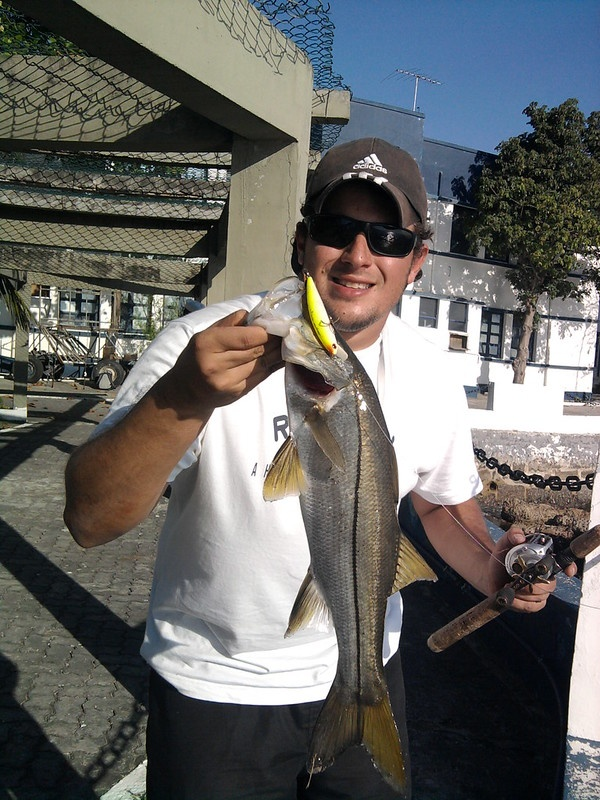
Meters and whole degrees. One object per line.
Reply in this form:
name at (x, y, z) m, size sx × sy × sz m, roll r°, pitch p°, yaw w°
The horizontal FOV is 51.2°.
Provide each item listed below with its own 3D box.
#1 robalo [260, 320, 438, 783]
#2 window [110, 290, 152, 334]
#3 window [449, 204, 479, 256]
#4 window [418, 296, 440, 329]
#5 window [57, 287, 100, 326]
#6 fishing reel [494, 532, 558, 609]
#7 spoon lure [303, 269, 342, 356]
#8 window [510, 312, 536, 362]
robalo at (0.104, 0.293, 1.406) m, size 0.376 × 1.033 × 0.307 m, roll -13°, pitch -15°, yaw 37°
window at (-7.524, -3.789, 27.168) m, size 2.407 × 2.263 × 0.224 m, roll 2°, pitch 3°, yaw -28°
window at (7.263, -7.607, 27.671) m, size 2.074 × 2.355 × 0.189 m, roll 12°, pitch 27°, yaw 33°
window at (5.628, -3.854, 27.386) m, size 0.967 × 1.310 × 0.325 m, roll 0°, pitch 10°, yaw -18°
window at (-9.558, -4.005, 26.538) m, size 2.274 × 2.065 × 0.238 m, roll 1°, pitch 8°, yaw -18°
fishing reel at (0.606, 0.434, 1.689) m, size 0.149 × 0.100 × 0.226 m, roll -13°, pitch 10°, yaw 13°
spoon lure at (0.027, -0.181, 1.159) m, size 0.058 × 0.051 × 0.209 m, roll -3°, pitch -8°, yaw -6°
window at (10.525, -2.946, 29.430) m, size 1.544 × 2.093 × 0.523 m, roll 1°, pitch 9°, yaw 3°
